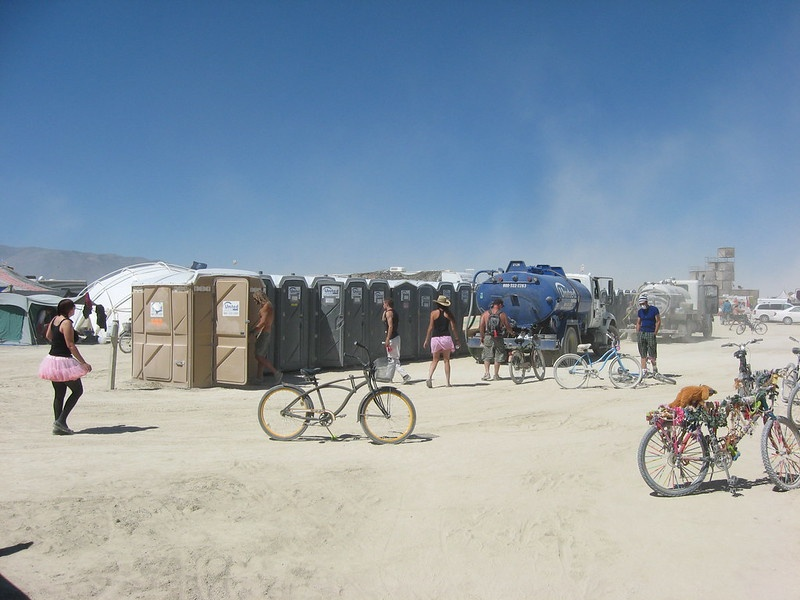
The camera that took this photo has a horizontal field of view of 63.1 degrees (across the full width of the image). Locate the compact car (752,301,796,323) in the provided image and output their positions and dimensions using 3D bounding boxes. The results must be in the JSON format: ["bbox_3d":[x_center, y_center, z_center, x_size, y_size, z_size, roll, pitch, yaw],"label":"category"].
[{"bbox_3d":[28.928,0.904,50.220,2.963,1.053,1.377,-5,2,-2],"label":"compact car"}]

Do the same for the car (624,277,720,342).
[{"bbox_3d":[11.678,0.458,27.589,2.826,2.712,5.081,0,0,39],"label":"car"}]

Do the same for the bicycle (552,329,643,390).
[{"bbox_3d":[4.709,1.473,15.434,1.989,1.312,0.961,0,8,15],"label":"bicycle"}]

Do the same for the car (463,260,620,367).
[{"bbox_3d":[4.691,0.160,20.519,3.082,2.709,5.759,0,0,35],"label":"car"}]

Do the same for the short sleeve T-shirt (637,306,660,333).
[{"bbox_3d":[5.951,0.455,15.589,0.571,0.698,0.389,-2,-10,27],"label":"short sleeve T-shirt"}]

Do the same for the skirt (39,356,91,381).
[{"bbox_3d":[-5.304,0.976,10.236,0.494,0.219,0.534,5,0,32],"label":"skirt"}]

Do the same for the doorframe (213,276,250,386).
[{"bbox_3d":[-3.800,0.725,14.570,0.880,2.489,0.399,2,7,17],"label":"doorframe"}]

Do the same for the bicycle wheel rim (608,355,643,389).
[{"bbox_3d":[5.352,1.644,15.394,0.768,0.771,0.872,3,7,22],"label":"bicycle wheel rim"}]

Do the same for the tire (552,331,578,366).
[{"bbox_3d":[4.430,1.298,17.586,0.311,0.927,0.899,6,0,32],"label":"tire"}]

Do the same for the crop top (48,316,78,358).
[{"bbox_3d":[-5.369,0.593,10.341,0.417,0.760,0.750,-2,4,-43],"label":"crop top"}]

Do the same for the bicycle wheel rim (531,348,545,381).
[{"bbox_3d":[3.518,1.583,16.529,0.333,0.819,0.832,2,7,13],"label":"bicycle wheel rim"}]

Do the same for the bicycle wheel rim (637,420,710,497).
[{"bbox_3d":[3.353,1.907,8.050,1.072,0.969,0.373,-2,7,-13],"label":"bicycle wheel rim"}]

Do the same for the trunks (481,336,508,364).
[{"bbox_3d":[2.313,1.181,15.924,0.526,0.741,0.380,1,7,7],"label":"trunks"}]

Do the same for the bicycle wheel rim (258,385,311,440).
[{"bbox_3d":[-1.825,1.771,10.388,0.840,0.890,0.206,-1,-2,18],"label":"bicycle wheel rim"}]

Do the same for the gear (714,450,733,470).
[{"bbox_3d":[3.999,1.917,8.070,0.203,0.303,0.101,11,-1,7],"label":"gear"}]

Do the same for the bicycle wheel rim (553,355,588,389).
[{"bbox_3d":[4.077,1.719,15.573,0.579,1.054,0.488,5,5,3],"label":"bicycle wheel rim"}]

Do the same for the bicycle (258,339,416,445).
[{"bbox_3d":[-0.978,1.557,10.767,2.700,1.689,1.272,-1,-1,5],"label":"bicycle"}]

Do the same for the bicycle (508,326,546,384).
[{"bbox_3d":[3.268,1.421,16.498,0.770,1.231,2.000,-5,-2,38],"label":"bicycle"}]

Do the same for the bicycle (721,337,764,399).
[{"bbox_3d":[7.294,1.426,13.912,0.702,1.187,0.773,1,-31,13],"label":"bicycle"}]
